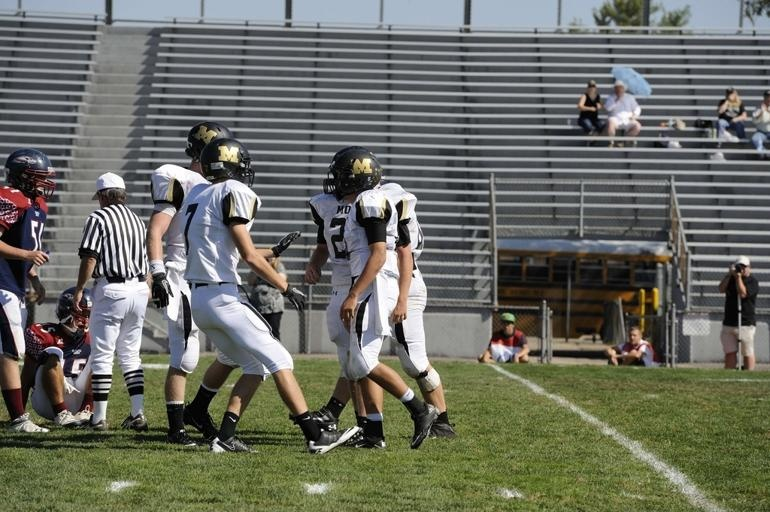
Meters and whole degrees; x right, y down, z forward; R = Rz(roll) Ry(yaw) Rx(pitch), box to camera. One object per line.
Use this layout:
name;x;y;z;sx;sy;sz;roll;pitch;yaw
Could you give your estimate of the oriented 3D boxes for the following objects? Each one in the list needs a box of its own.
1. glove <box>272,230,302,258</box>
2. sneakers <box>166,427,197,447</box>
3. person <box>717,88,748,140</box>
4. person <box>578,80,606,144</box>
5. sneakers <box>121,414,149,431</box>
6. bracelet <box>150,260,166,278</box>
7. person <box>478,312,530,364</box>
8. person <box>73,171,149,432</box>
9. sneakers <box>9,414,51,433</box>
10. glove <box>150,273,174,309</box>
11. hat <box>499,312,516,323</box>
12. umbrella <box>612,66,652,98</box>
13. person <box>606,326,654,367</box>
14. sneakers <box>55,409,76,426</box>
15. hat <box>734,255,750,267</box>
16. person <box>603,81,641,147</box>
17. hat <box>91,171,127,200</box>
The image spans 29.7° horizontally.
glove;-1.794;-0.226;27.151;0.704;0.204;0.213;-32;44;-27
sneakers;-3.008;2.692;21.711;0.409;0.172;0.213;11;0;14
person;7.575;-3.087;31.736;0.560;1.072;0.602;3;13;11
person;4.568;-3.271;31.990;0.626;1.172;0.584;0;13;-2
sneakers;-3.790;2.541;22.175;0.450;0.204;0.181;4;-3;22
bracelet;-3.406;0.187;21.755;0.222;0.221;0.212;-12;3;-17
person;2.256;1.580;28.427;1.151;1.060;0.884;1;-6;12
person;-4.126;0.694;22.252;1.075;3.745;1.209;-2;13;-9
sneakers;-5.370;2.527;22.076;0.576;0.259;0.257;3;-1;-2
glove;-3.324;0.496;21.875;0.312;0.563;0.254;-2;13;-9
hat;2.392;1.163;28.163;0.224;0.194;0.352;1;13;1
umbrella;5.580;-3.863;32.518;0.728;0.242;0.730;27;32;-16
person;4.816;1.765;28.159;0.857;0.723;0.666;17;-17;-37
sneakers;-4.896;2.485;22.364;0.166;0.137;0.323;1;-6;-43
hat;6.751;0.089;27.432;0.212;0.176;0.327;0;-4;24
person;5.223;-3.124;31.854;0.804;1.369;0.725;2;13;8
hat;-4.342;-1.120;22.656;0.506;0.389;0.704;-8;0;-40
